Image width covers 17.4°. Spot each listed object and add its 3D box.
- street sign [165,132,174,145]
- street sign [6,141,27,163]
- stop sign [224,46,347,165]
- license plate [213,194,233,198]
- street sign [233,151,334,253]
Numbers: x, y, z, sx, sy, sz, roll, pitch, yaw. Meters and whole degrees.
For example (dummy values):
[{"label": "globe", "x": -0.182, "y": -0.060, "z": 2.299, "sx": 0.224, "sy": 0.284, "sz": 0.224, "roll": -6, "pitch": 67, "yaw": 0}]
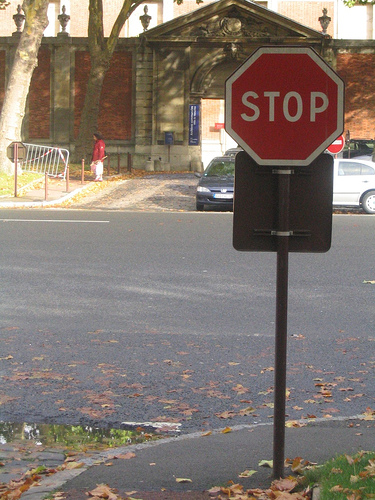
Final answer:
[{"label": "street sign", "x": -0.715, "y": -4.186, "z": 45.752, "sx": 0.457, "sy": 0.637, "sz": 0.028, "roll": 0, "pitch": 3, "yaw": -4}, {"label": "street sign", "x": -3.985, "y": -2.295, "z": 28.556, "sx": 0.432, "sy": 0.521, "sz": 0.514, "roll": -1, "pitch": 1, "yaw": -10}, {"label": "stop sign", "x": 0.569, "y": -0.858, "z": 7.254, "sx": 0.711, "sy": 0.699, "sz": 0.275, "roll": 1, "pitch": 1, "yaw": 2}, {"label": "license plate", "x": 0.686, "y": -1.092, "z": 24.697, "sx": 0.373, "sy": 0.070, "sz": 0.051, "roll": 1, "pitch": 1, "yaw": 16}, {"label": "street sign", "x": 0.575, "y": -0.311, "z": 7.393, "sx": 0.598, "sy": 0.632, "sz": 0.086, "roll": 0, "pitch": 4, "yaw": -3}]
